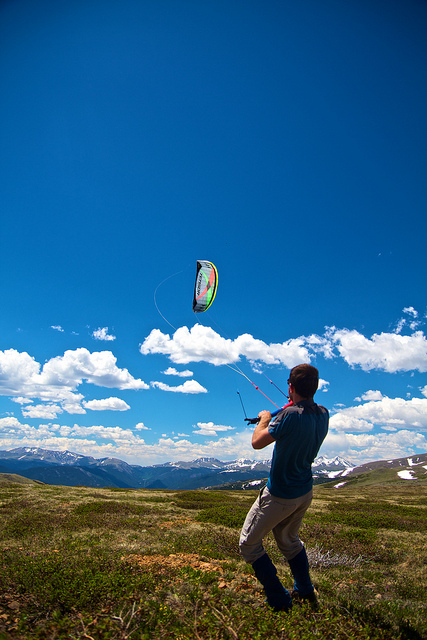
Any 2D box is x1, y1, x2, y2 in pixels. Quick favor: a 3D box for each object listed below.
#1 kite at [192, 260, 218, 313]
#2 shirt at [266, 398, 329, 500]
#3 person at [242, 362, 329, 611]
[{"bbox_3d":[-0.384,-1.421,21.403,0.950,2.308,1.160,3,-11,-4],"label":"kite"},{"bbox_3d":[1.502,2.324,8.639,1.154,1.806,0.568,8,-12,-27],"label":"shirt"},{"bbox_3d":[1.345,3.059,8.732,1.471,4.457,1.101,8,-13,-30],"label":"person"}]
